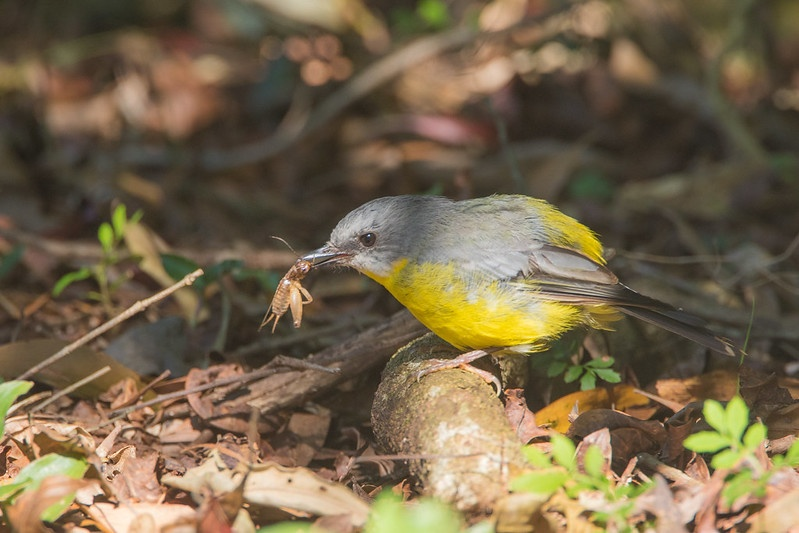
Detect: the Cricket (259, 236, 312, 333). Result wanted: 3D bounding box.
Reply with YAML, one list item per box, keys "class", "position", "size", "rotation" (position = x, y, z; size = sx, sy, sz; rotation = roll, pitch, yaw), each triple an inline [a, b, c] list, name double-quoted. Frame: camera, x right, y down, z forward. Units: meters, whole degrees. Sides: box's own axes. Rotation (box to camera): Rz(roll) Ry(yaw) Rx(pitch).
- class: "Cricket"
  position: [-0.875, 0.158, 5.576]
  size: [0.394, 0.601, 0.513]
  rotation: [23, 16, -23]

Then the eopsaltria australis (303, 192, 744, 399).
- class: "eopsaltria australis"
  position: [0.873, 0.079, 5.654]
  size: [3.031, 0.939, 1.097]
  rotation: [-3, 97, 5]
